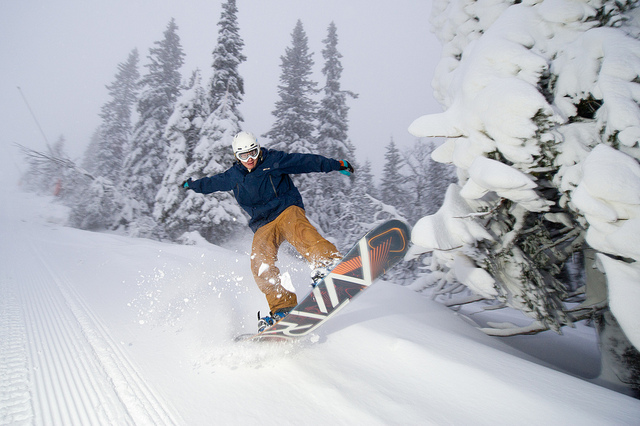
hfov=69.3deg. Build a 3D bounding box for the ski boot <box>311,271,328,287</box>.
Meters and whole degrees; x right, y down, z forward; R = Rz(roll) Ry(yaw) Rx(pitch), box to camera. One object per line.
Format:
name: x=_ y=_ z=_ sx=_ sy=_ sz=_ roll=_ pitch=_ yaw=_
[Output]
ski boot: x=-0.034 y=1.140 z=7.927 sx=0.223 sy=0.264 sz=0.157 roll=0 pitch=13 yaw=-2
